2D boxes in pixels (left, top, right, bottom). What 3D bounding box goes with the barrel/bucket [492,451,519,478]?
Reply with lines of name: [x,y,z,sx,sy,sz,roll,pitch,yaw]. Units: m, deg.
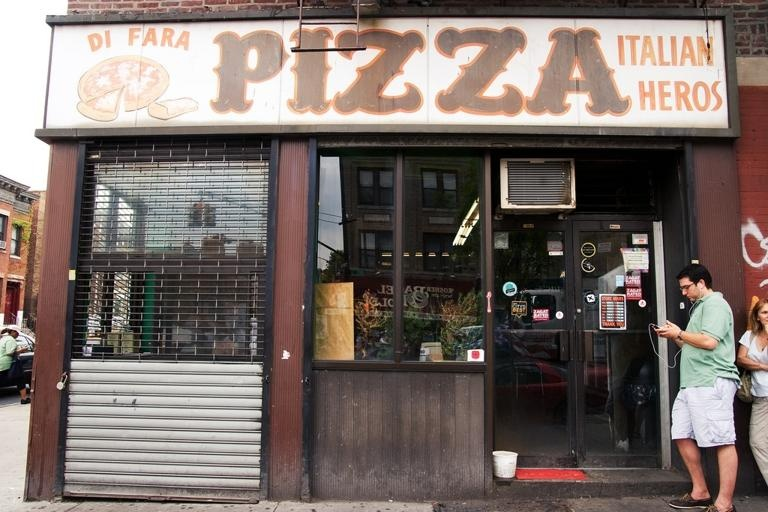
barrel/bucket: [1.654,2.871,10.246,0.315,0.245,0.322,1,-9,0]

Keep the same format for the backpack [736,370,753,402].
backpack: [4.801,1.753,10.033,0.229,0.501,0.424,-3,-5,18]

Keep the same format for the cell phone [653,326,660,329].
cell phone: [3.854,1.019,10.640,0.063,0.016,0.066,8,-2,10]
